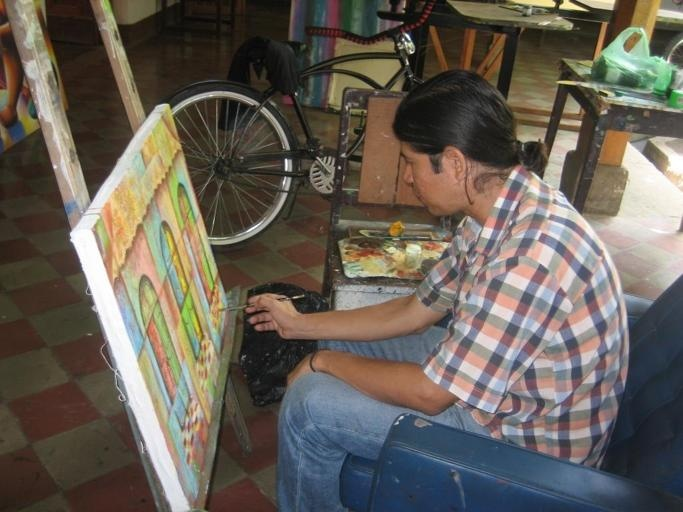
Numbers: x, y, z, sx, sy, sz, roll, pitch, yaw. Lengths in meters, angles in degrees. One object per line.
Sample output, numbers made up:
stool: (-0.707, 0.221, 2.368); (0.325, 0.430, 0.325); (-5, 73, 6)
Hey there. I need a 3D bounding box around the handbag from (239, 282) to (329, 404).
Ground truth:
handbag: (-0.340, 0.426, 2.603); (0.203, 0.548, 0.467); (7, -5, 44)
